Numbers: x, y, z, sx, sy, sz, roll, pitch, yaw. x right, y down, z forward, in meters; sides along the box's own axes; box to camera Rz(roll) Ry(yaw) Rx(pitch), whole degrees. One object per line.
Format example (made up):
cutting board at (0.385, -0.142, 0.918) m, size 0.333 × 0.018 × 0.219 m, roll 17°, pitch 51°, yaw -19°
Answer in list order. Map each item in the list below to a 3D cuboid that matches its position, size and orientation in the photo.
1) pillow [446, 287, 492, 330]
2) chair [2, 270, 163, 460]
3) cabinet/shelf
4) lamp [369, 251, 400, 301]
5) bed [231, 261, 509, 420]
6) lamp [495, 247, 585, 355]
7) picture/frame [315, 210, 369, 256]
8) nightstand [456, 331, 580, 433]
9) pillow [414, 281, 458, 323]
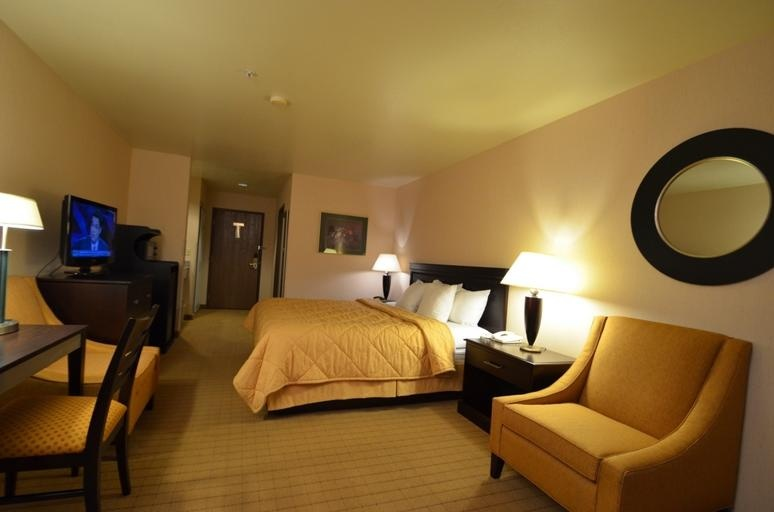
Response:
pillow at (0.885, 0.562, 5.519) m, size 0.406 × 0.401 × 0.122 m, roll 12°, pitch -9°, yaw 45°
chair at (-2.530, 0.763, 4.043) m, size 1.312 × 1.426 × 1.017 m, roll 6°, pitch -2°, yaw -12°
cabinet/shelf at (-2.616, 0.610, 4.744) m, size 0.759 × 0.517 × 0.774 m, roll -16°, pitch -33°, yaw 23°
lamp at (-0.001, 0.312, 7.480) m, size 0.579 × 0.803 × 0.589 m, roll 0°, pitch 3°, yaw -16°
bed at (-0.272, 0.732, 5.849) m, size 2.682 × 1.453 × 2.413 m, roll 4°, pitch 2°, yaw -15°
lamp at (1.343, 0.468, 4.769) m, size 0.550 × 0.737 × 0.572 m, roll 4°, pitch 2°, yaw 35°
picture/frame at (-0.720, -0.347, 7.747) m, size 0.637 × 0.549 × 0.060 m, roll 5°, pitch -3°, yaw -23°
nightstand at (1.101, 1.222, 4.695) m, size 0.520 × 0.754 × 0.796 m, roll 5°, pitch 6°, yaw -36°
pillow at (0.554, 0.479, 5.582) m, size 0.120 × 0.404 × 0.397 m, roll 24°, pitch -8°, yaw -41°
